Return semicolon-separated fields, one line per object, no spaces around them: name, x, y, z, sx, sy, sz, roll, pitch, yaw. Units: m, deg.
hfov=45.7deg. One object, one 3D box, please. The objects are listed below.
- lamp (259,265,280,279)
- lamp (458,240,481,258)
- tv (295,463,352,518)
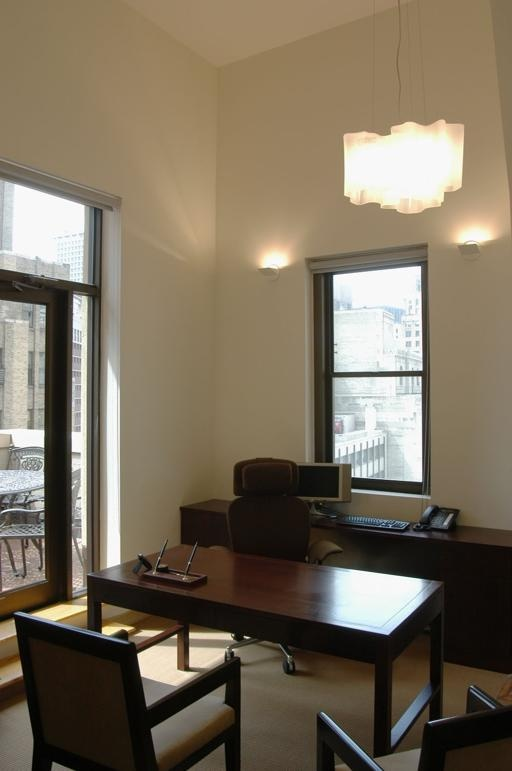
lamp;0.096;-0.858;4.623;0.116;0.050;0.094;5;0;10
lamp;1.317;-0.845;3.756;0.120;0.105;0.154;-1;4;19
tv;0.431;0.680;4.001;0.393;0.301;0.121;-1;-11;14
